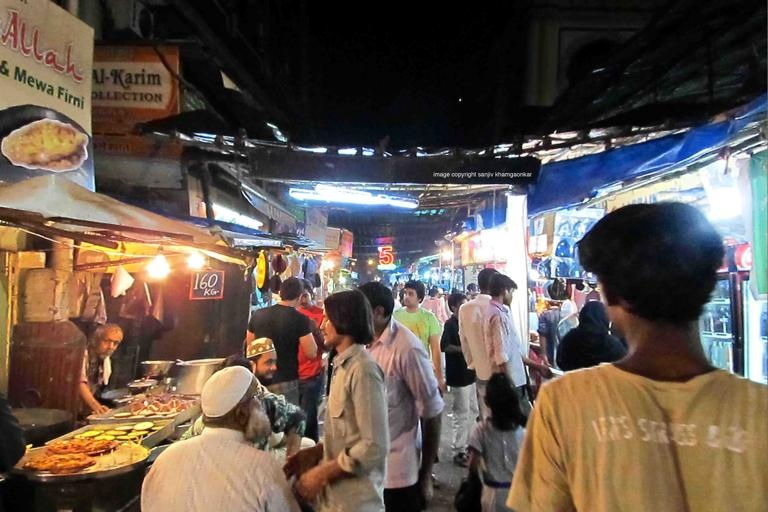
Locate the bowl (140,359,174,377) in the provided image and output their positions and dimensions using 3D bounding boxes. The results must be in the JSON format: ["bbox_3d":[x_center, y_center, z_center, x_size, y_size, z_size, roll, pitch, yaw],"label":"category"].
[{"bbox_3d":[-2.913,1.439,7.372,0.404,0.256,0.391,-1,-16,0],"label":"bowl"}]

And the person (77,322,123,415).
[{"bbox_3d":[-3.503,1.368,7.002,0.405,1.069,0.800,5,-5,-25],"label":"person"}]

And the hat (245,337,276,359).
[{"bbox_3d":[-1.534,1.134,6.924,0.267,0.151,0.270,-17,-10,33],"label":"hat"}]

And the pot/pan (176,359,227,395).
[{"bbox_3d":[-2.244,1.456,6.992,0.571,0.338,0.570,-5,-9,24],"label":"pot/pan"}]
